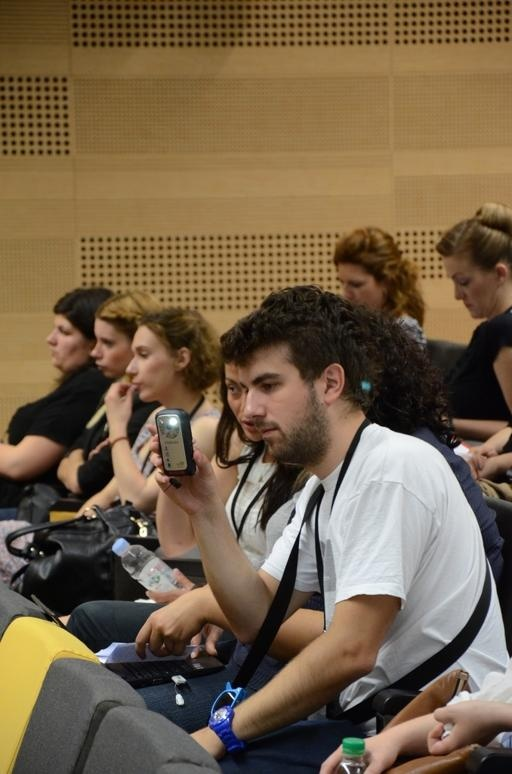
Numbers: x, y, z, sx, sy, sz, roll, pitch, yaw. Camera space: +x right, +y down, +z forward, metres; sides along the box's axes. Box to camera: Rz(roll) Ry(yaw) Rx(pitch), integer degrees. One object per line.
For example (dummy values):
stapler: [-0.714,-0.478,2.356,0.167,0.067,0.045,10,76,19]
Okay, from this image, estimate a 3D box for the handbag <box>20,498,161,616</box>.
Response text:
handbag: [-0.638,0.608,2.733,0.511,0.461,0.368,12,13,14]

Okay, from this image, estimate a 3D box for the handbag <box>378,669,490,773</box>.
handbag: [0.247,0.445,0.949,0.125,0.133,0.101,1,-1,-14]

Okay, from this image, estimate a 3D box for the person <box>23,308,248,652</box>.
person: [-0.547,0.316,3.823,0.958,2.680,0.972,9,-14,-29]

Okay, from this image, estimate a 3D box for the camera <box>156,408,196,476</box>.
camera: [-0.168,0.113,1.437,0.085,0.135,0.034,-9,1,7]
